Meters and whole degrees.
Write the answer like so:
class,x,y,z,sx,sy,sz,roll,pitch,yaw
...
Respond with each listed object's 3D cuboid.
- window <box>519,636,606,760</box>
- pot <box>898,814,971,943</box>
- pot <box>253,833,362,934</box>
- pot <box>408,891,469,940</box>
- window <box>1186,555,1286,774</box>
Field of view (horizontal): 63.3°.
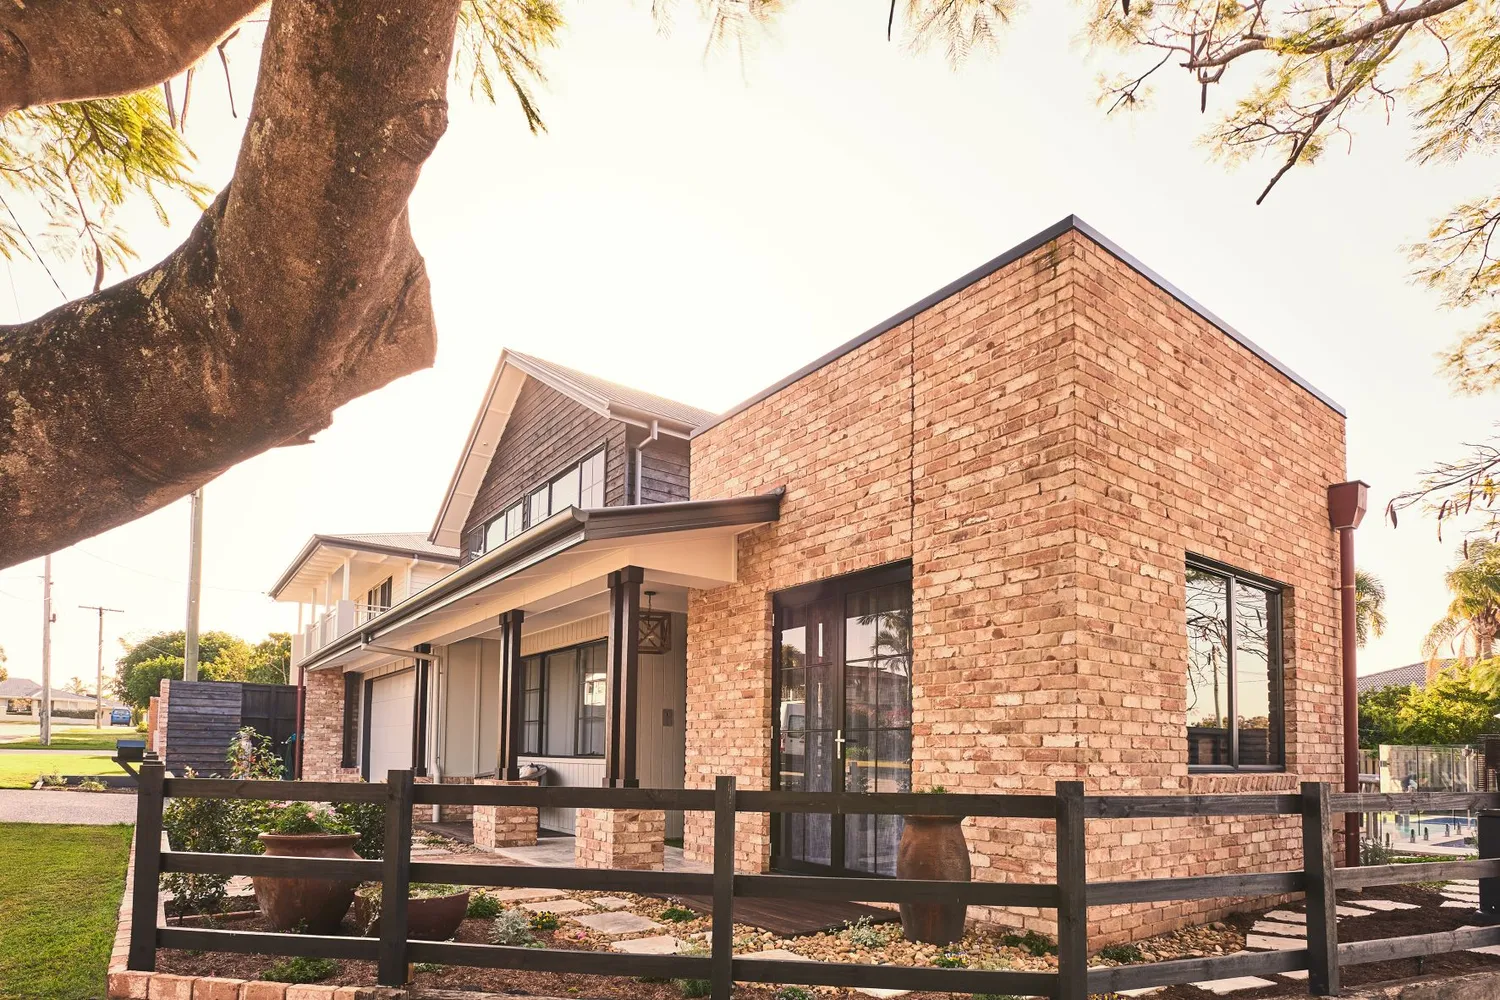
class,x,y,z,sx,sy,sz,roll,pitch,yaw
window,-2.759,2.982,18.275,0.098,1.279,2.122,11,-18,-35
pot,1.458,2.991,9.606,0.549,0.956,0.546,2,-19,1
pot,-3.707,3.171,10.172,0.962,0.806,0.926,3,-7,0
pot,-2.464,3.268,9.562,0.497,0.304,0.498,-4,-17,-1
window,4.559,1.563,11.457,0.073,1.460,2.071,-8,-14,44
